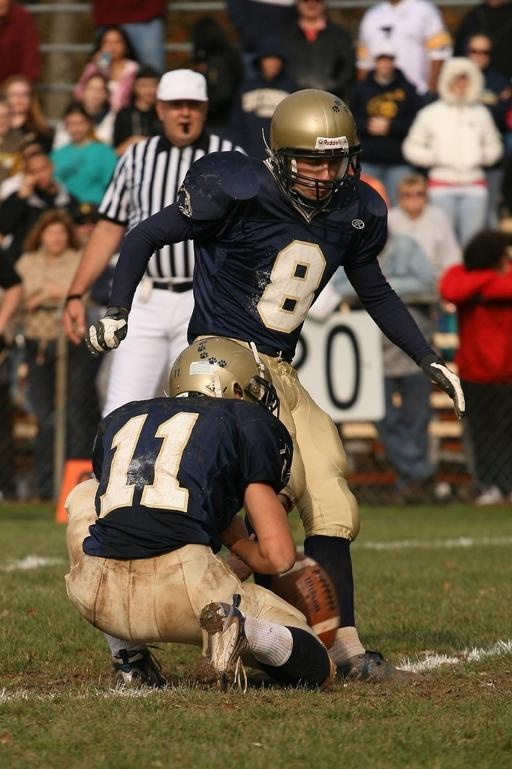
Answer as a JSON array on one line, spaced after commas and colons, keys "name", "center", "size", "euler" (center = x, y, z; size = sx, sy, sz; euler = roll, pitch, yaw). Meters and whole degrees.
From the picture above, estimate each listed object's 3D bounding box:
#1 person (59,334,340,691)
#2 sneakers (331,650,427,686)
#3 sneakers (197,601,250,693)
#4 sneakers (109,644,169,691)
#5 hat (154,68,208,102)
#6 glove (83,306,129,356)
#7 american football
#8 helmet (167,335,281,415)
[{"name": "person", "center": [-0.128, 0.309, 2.463], "size": [0.685, 0.946, 0.587], "euler": [2, -8, -10]}, {"name": "sneakers", "center": [0.347, 0.789, 2.734], "size": [0.254, 0.090, 0.079], "euler": [-2, 7, 6]}, {"name": "sneakers", "center": [-0.089, 0.608, 2.225], "size": [0.091, 0.222, 0.107], "euler": [6, 11, 26]}, {"name": "sneakers", "center": [-0.307, 0.755, 2.623], "size": [0.079, 0.083, 0.204], "euler": [0, 0, 15]}, {"name": "hat", "center": [-0.323, -1.288, 4.259], "size": [0.156, 0.096, 0.201], "euler": [0, 1, -10]}, {"name": "glove", "center": [-0.413, -0.141, 2.737], "size": [0.144, 0.071, 0.100], "euler": [-31, 29, 7]}, {"name": "american football", "center": [0.156, 0.586, 2.762], "size": [0.157, 0.243, 0.190], "euler": [-36, 5, -6]}, {"name": "helmet", "center": [-0.073, -0.017, 2.715], "size": [0.342, 0.213, 0.240], "euler": [6, -24, 4]}]
